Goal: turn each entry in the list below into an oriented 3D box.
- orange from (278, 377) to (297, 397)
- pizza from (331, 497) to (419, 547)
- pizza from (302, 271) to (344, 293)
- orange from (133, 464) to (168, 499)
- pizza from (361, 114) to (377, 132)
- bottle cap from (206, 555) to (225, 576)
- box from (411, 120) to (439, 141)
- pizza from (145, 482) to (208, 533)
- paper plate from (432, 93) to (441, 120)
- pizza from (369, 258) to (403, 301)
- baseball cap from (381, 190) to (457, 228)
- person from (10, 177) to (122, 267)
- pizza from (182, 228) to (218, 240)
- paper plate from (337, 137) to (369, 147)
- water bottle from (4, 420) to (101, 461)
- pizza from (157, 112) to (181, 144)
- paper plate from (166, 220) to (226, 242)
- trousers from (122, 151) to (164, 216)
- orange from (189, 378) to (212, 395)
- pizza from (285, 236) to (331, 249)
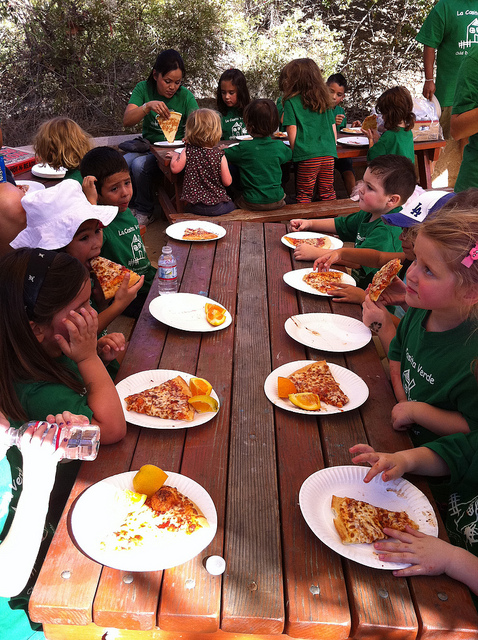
[{"bbox_3d":[0.178,0.249,1.703,0.088,0.021,0.057,7,62,-29],"label":"orange"},{"bbox_3d":[0.353,0.523,1.181,0.216,0.086,0.149,-6,32,-3],"label":"pizza"},{"bbox_3d":[0.506,-0.228,2.675,0.171,0.028,0.168,8,25,3],"label":"pizza"},{"bbox_3d":[-0.229,0.418,1.184,0.080,0.059,0.085,-1,28,1],"label":"orange"},{"bbox_3d":[1.728,-2.624,6.028,0.158,0.197,0.385,-2,32,4],"label":"pizza"},{"bbox_3d":[-0.054,0.567,1.050,0.042,0.011,0.046,-4,32,-1],"label":"bottle cap"},{"bbox_3d":[2.495,-2.569,6.138,0.458,0.284,0.251,-2,31,3],"label":"box"},{"bbox_3d":[-0.165,0.482,1.149,0.107,0.028,0.199,-20,35,-25],"label":"pizza"},{"bbox_3d":[2.716,-2.941,6.264,0.146,0.292,0.157,5,34,14],"label":"paper plate"},{"bbox_3d":[0.769,-0.231,2.342,0.257,0.068,0.164,-47,25,-13],"label":"pizza"},{"bbox_3d":[0.893,-0.551,2.279,0.406,0.147,0.252,-10,19,20],"label":"baseball cap"},{"bbox_3d":[-0.857,-0.500,2.372,0.785,0.278,0.678,-12,-1,-27],"label":"person"},{"bbox_3d":[-0.300,-0.625,3.316,0.145,0.019,0.125,6,28,5],"label":"pizza"},{"bbox_3d":[1.569,-2.454,6.257,0.262,0.035,0.263,22,36,35],"label":"paper plate"},{"bbox_3d":[-0.453,0.297,1.130,0.205,0.059,0.055,5,50,5],"label":"water bottle"},{"bbox_3d":[-0.906,-2.564,5.995,0.296,0.394,0.091,1,50,-2],"label":"pizza"},{"bbox_3d":[-0.311,-0.661,3.378,0.279,0.037,0.262,-8,36,-23],"label":"paper plate"},{"bbox_3d":[-1.209,-1.908,6.529,0.674,1.172,0.710,1,25,-1],"label":"trousers"},{"bbox_3d":[-0.144,0.242,1.677,0.060,0.036,0.058,12,31,-6],"label":"orange"},{"bbox_3d":[0.499,-0.551,3.207,0.225,0.030,0.145,2,28,0],"label":"pizza"}]
